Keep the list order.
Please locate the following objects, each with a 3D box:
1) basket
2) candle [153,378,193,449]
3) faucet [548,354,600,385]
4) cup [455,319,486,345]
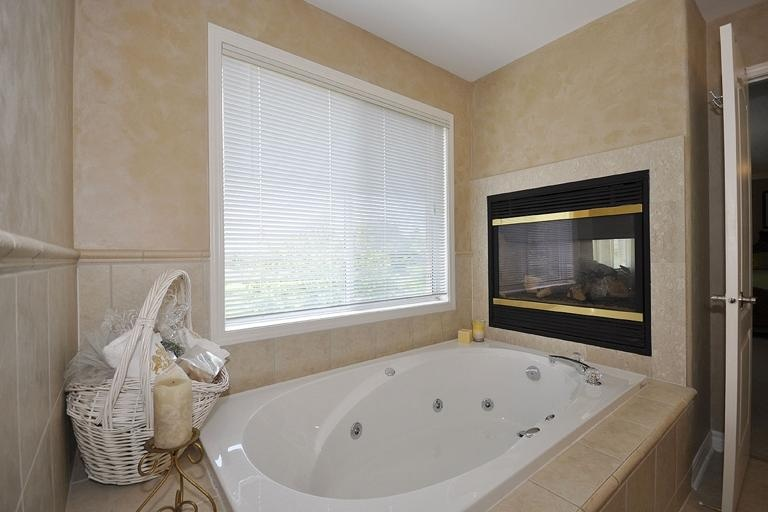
[{"bbox_3d":[-1.353,0.609,2.753,0.978,1.147,0.890,6,1,0],"label":"basket"},{"bbox_3d":[-0.884,0.660,1.997,0.139,0.282,0.094,0,1,-28],"label":"candle"},{"bbox_3d":[1.211,0.742,3.206,0.112,0.133,0.480,0,1,-21],"label":"faucet"},{"bbox_3d":[0.718,0.633,3.909,0.216,0.159,0.139,-3,3,-34],"label":"cup"}]
